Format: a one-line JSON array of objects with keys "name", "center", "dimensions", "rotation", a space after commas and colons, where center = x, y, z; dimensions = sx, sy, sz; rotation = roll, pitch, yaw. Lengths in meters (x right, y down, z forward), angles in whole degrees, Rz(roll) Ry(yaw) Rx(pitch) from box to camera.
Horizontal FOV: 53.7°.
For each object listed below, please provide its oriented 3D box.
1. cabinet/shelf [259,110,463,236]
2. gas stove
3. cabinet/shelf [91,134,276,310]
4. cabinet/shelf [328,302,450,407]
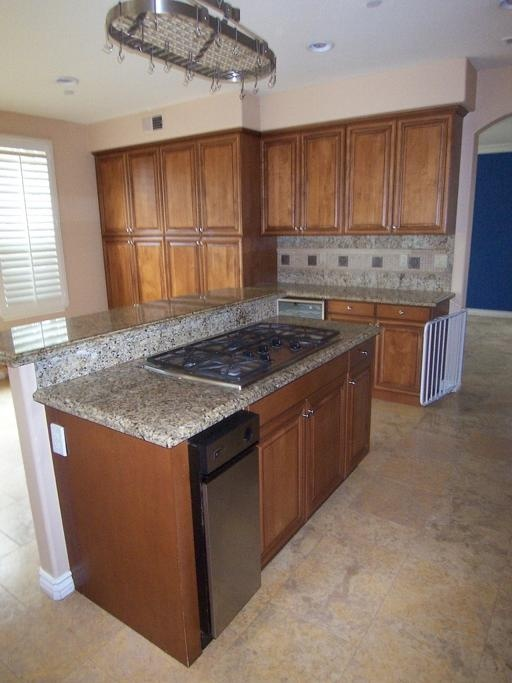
[{"name": "cabinet/shelf", "center": [0.836, -1.282, 3.792], "dimensions": [1.045, 0.591, 0.245], "rotation": [10, 25, 30]}, {"name": "gas stove", "center": [-0.043, 0.037, 2.066], "dimensions": [0.511, 0.039, 0.809], "rotation": [7, 15, 31]}, {"name": "cabinet/shelf", "center": [-0.577, -1.081, 4.346], "dimensions": [1.617, 1.731, 0.593], "rotation": [8, 19, 32]}, {"name": "cabinet/shelf", "center": [0.846, 0.118, 3.896], "dimensions": [0.800, 0.784, 0.455], "rotation": [6, -14, 1]}]
